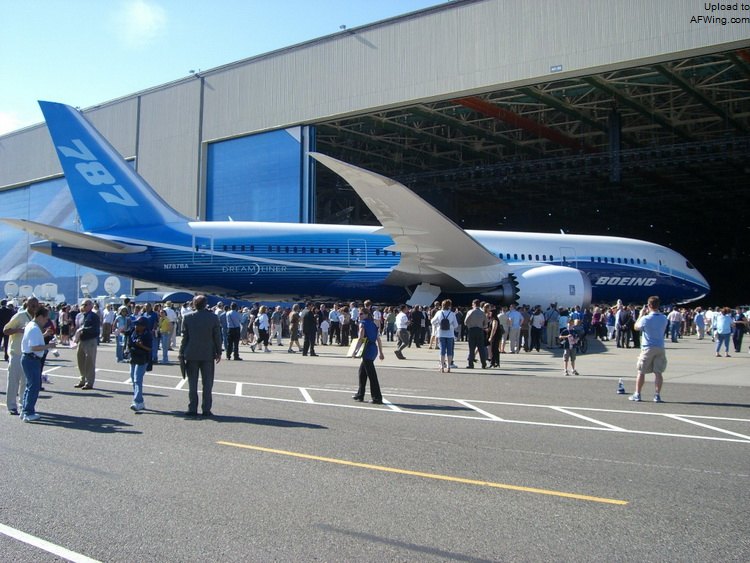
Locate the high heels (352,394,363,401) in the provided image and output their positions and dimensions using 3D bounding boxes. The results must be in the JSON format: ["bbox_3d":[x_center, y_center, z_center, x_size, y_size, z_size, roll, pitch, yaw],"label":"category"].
[{"bbox_3d":[-0.325,2.272,13.897,0.085,0.105,0.246,18,0,-27],"label":"high heels"}]

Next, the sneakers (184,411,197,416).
[{"bbox_3d":[-3.223,2.301,12.356,0.227,0.088,0.082,3,-10,32],"label":"sneakers"}]

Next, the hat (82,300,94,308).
[{"bbox_3d":[-6.276,0.479,15.405,0.174,0.182,0.213,5,6,-1],"label":"hat"}]

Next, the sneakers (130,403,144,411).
[{"bbox_3d":[-4.261,2.227,12.679,0.150,0.147,0.229,4,8,-11],"label":"sneakers"}]

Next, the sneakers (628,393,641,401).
[{"bbox_3d":[5.079,2.257,13.811,0.117,0.127,0.300,6,-3,-8],"label":"sneakers"}]

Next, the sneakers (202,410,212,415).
[{"bbox_3d":[-2.927,2.277,12.351,0.166,0.099,0.244,0,2,-16],"label":"sneakers"}]

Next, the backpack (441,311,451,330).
[{"bbox_3d":[1.846,1.032,18.442,0.243,0.454,0.140,0,2,-2],"label":"backpack"}]

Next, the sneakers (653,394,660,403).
[{"bbox_3d":[5.448,2.241,13.610,0.119,0.135,0.273,1,2,21],"label":"sneakers"}]
